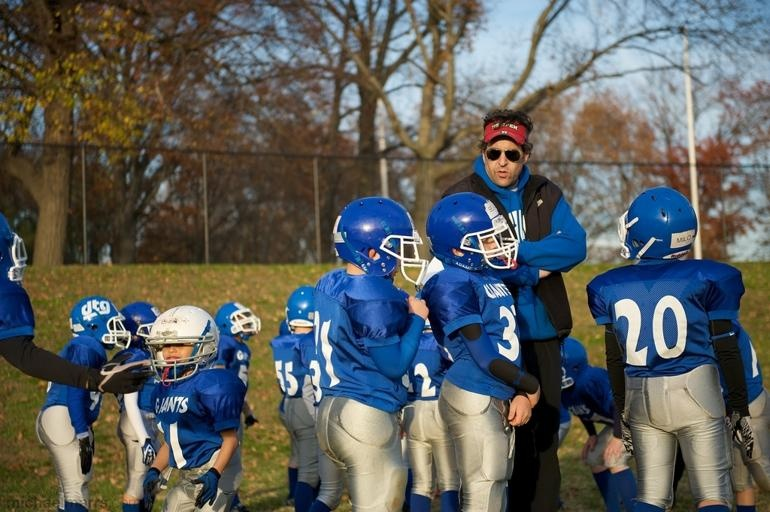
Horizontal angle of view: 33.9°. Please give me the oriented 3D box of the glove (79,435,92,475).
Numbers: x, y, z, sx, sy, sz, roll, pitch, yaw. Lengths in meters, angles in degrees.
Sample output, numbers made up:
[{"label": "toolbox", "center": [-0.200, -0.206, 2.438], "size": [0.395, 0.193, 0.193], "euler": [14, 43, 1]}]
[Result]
[{"label": "glove", "center": [-3.418, 2.245, 14.570], "size": [0.165, 0.357, 0.246], "euler": [5, -16, -20]}]

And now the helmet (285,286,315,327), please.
[{"label": "helmet", "center": [-1.034, 0.606, 15.770], "size": [0.400, 0.503, 0.567], "euler": [0, 6, 2]}]

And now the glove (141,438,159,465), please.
[{"label": "glove", "center": [-2.705, 2.206, 14.529], "size": [0.234, 0.357, 0.101], "euler": [2, -4, -7]}]

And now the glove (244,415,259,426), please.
[{"label": "glove", "center": [-1.720, 2.079, 16.240], "size": [0.153, 0.092, 0.212], "euler": [16, -19, -14]}]

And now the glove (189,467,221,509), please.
[{"label": "glove", "center": [-1.931, 2.462, 13.491], "size": [0.189, 0.324, 0.445], "euler": [6, -50, -47]}]
